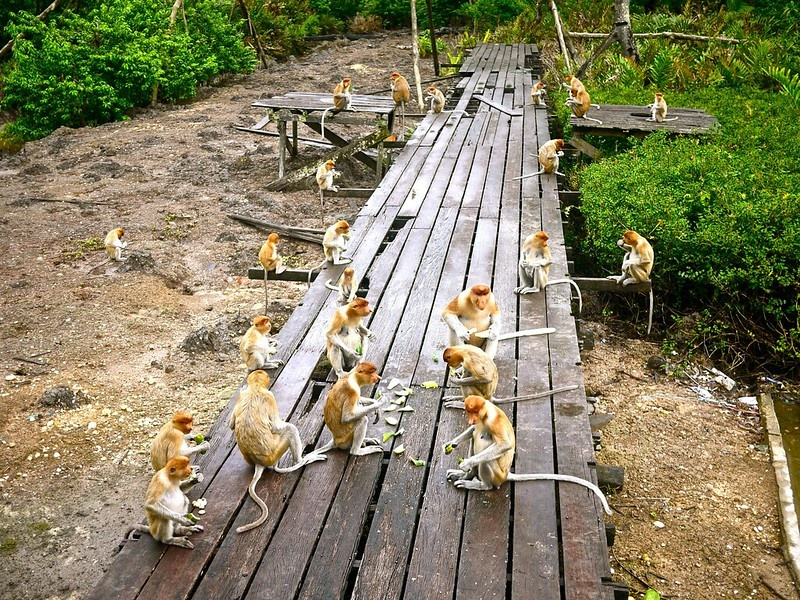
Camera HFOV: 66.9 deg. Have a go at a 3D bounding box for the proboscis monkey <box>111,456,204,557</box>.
[{"bbox_3d":[-1.802,1.561,4.574,0.639,0.573,0.519,-26,35,-24],"label":"proboscis monkey"}]

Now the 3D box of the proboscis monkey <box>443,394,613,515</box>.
[{"bbox_3d":[0.974,1.182,4.716,1.326,0.740,0.601,6,5,2],"label":"proboscis monkey"}]

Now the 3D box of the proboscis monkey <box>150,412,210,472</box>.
[{"bbox_3d":[-1.918,1.233,5.220,0.438,0.556,0.369,-2,15,-39],"label":"proboscis monkey"}]

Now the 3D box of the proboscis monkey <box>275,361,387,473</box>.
[{"bbox_3d":[-0.614,0.981,5.018,1.032,0.696,0.370,-11,5,-19],"label":"proboscis monkey"}]

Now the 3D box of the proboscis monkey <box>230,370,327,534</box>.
[{"bbox_3d":[-1.049,1.099,4.875,0.889,0.803,1.443,-6,16,-16],"label":"proboscis monkey"}]
